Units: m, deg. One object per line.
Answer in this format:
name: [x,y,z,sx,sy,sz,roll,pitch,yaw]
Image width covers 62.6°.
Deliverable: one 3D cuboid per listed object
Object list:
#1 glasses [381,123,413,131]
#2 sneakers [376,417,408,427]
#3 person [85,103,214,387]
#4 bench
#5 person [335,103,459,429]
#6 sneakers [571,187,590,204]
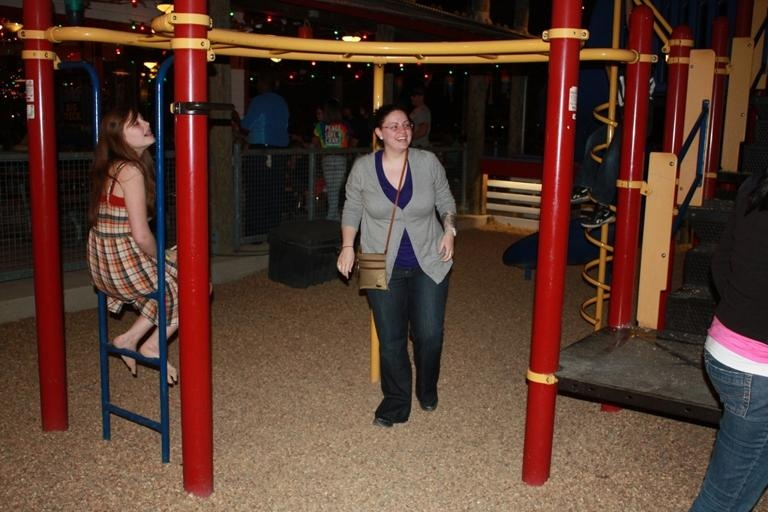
glasses: [0.122,-0.934,4.558,0.230,0.051,0.099,-9,22,-26]
sneakers: [0.052,1.236,4.747,0.242,0.101,0.088,5,-5,-17]
person: [-1.773,0.125,4.509,0.587,2.252,0.714,-9,21,-25]
bench: [1.721,0.618,4.202,0.823,0.200,0.833,5,17,26]
person: [0.092,0.101,4.674,0.828,2.291,0.683,5,19,13]
sneakers: [2.089,-0.649,6.788,0.137,0.161,0.381,4,9,-12]
